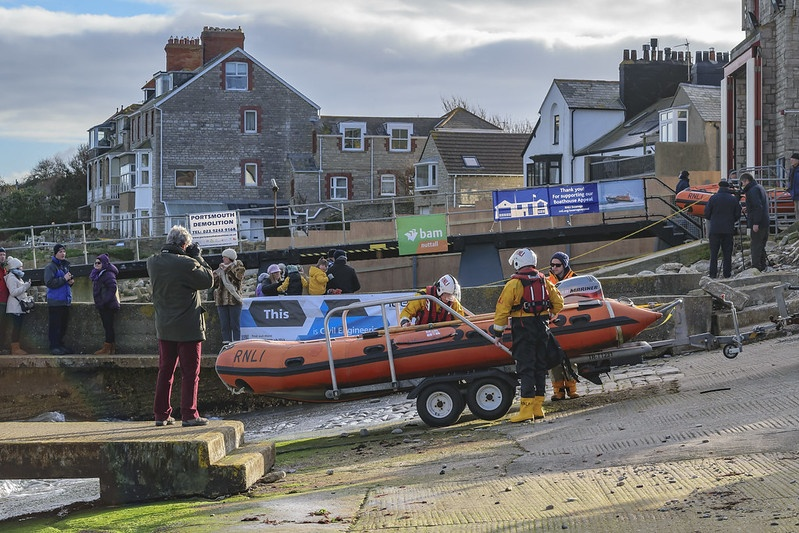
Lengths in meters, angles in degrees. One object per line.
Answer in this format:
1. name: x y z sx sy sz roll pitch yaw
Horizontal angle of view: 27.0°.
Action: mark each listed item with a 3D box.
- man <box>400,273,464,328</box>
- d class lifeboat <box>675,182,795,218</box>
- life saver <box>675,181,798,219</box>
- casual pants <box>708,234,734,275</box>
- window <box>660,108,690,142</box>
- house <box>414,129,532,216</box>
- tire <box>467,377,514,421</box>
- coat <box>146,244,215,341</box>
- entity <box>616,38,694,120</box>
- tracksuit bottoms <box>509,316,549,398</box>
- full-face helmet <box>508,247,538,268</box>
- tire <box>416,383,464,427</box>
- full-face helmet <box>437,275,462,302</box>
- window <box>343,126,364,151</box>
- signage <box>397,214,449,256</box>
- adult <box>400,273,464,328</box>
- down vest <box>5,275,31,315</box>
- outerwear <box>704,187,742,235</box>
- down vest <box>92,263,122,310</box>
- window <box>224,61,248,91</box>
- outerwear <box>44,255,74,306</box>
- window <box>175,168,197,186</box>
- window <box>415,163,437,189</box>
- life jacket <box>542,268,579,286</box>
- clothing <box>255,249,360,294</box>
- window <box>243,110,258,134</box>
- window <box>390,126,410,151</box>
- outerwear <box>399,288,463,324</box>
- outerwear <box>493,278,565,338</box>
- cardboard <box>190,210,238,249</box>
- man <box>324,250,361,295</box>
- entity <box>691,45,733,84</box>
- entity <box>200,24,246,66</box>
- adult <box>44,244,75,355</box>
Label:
1. man: 0.859 0.854 41.961 1.250 0.856 1.552 3 -31 -33
2. d class lifeboat: 10.069 -2.011 49.884 2.588 0.762 1.259 6 3 15
3. life saver: 10.081 -2.156 49.921 2.453 0.732 1.294 5 2 16
4. casual pants: 8.572 -0.464 44.398 0.721 1.436 0.468 4 -6 -12
5. window: 10.654 -5.412 64.713 0.589 1.506 1.659 0 -1 -23
6. house: 3.080 -4.878 79.726 4.272 3.869 4.043 -3 24 -28
7. tire: 2.173 3.087 39.412 1.135 1.041 0.410 1 -1 19
8. coat: -5.016 0.611 38.584 1.525 2.130 1.336 0 4 43
9. entity: 10.928 -8.213 71.947 3.029 3.193 1.218 -3 -8 -17
10. tracksuit bottoms: 3.092 2.107 38.891 0.864 1.916 0.392 -5 4 4
11. full-face helmet: 2.957 -0.223 39.207 0.610 0.533 0.465 8 8 36
12. tire: 1.000 3.271 39.519 1.140 1.050 0.411 2 -3 22
13. full-face helmet: 1.142 0.462 40.038 0.632 0.545 0.491 -2 6 21
14. window: -2.325 -6.348 80.881 1.256 1.178 0.120 -8 2 -31
15. signage: 0.717 -1.028 51.049 1.682 1.173 0.001 -7 8 -23
16. adult: 0.859 0.854 41.961 1.250 0.856 1.552 3 -31 -33
17. down vest: -10.141 0.688 43.864 0.647 1.122 0.374 -5 4 -13
18. outerwear: 8.657 -1.220 44.414 0.953 2.059 0.694 1 -8 19
19. down vest: -7.811 0.507 44.430 1.007 1.353 1.288 -2 7 -20
20. window: -7.769 -9.069 77.932 1.502 1.465 0.161 0 7 -12
21. outerwear: -9.123 0.388 44.267 0.806 1.234 1.016 1 3 26
22. window: -10.034 -4.260 77.476 0.856 0.914 0.082 7 9 -19
23. window: 1.421 -4.380 79.569 1.140 1.640 1.809 1 -1 -6
24. life jacket: 3.863 0.239 40.519 0.428 0.271 0.585 1 -10 -33
25. clothing: -2.664 0.109 46.985 1.750 0.891 0.675 -17 8 27
26. window: -7.056 -6.893 78.248 0.745 1.125 0.225 -6 4 -16
27. window: -0.047 -6.444 82.921 1.344 1.364 0.180 -2 1 -8
28. outerwear: 0.726 0.633 40.120 1.622 1.051 0.891 0 15 -6
29. outerwear: 3.026 0.771 39.169 1.892 1.370 0.938 -10 12 -23
30. cardboard: -5.693 -1.149 50.689 1.612 1.030 0.068 -1 -2 -19
31. man: -1.638 0.124 45.905 0.986 1.027 1.905 0 -41 -4
32. entity: 13.478 -8.683 71.663 1.869 1.671 1.059 -1 10 -9
33. entity: -8.886 -10.909 80.954 1.963 1.727 1.436 -1 9 -21
34. adult: -9.020 0.860 44.355 0.924 2.824 1.000 1 4 2
